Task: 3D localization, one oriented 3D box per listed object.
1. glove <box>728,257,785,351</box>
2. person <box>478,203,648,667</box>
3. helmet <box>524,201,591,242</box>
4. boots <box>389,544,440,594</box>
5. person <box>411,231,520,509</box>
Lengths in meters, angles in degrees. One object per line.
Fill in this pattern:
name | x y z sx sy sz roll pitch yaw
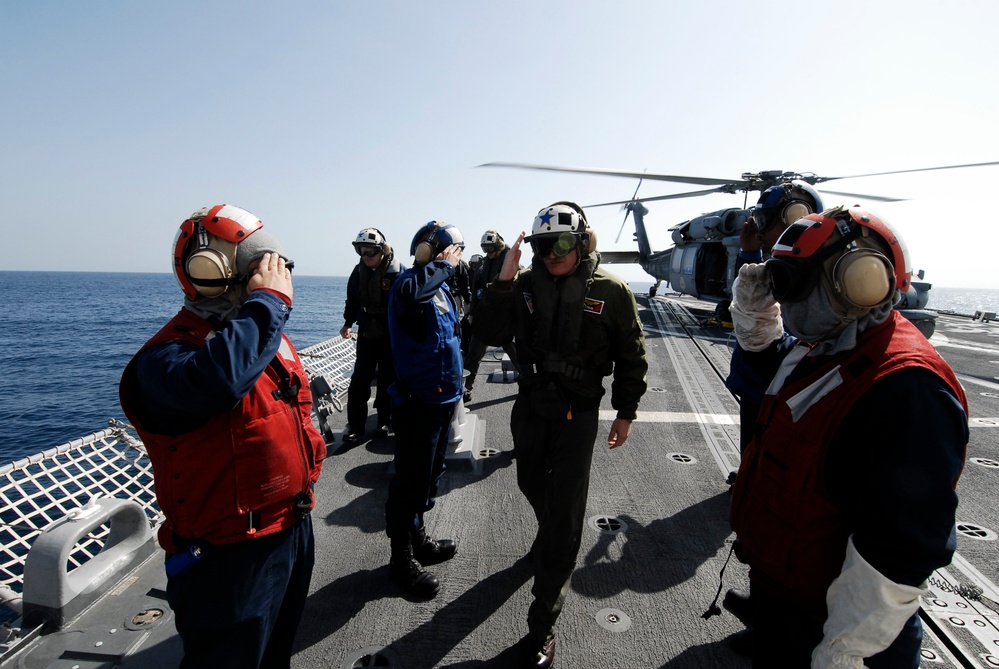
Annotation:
glove | 1.872 -0.169 3.685 0.300 0.693 0.522 -2 -12 5
person | 0.335 0.563 4.015 0.960 2.982 1.212 9 16 40
helmet | 0.429 -0.805 3.837 0.386 0.240 0.247 -12 17 -40
boots | -0.660 1.778 4.328 0.511 0.348 0.220 10 11 32
person | -0.321 0.152 4.868 1.048 2.522 0.893 2 -3 -11
